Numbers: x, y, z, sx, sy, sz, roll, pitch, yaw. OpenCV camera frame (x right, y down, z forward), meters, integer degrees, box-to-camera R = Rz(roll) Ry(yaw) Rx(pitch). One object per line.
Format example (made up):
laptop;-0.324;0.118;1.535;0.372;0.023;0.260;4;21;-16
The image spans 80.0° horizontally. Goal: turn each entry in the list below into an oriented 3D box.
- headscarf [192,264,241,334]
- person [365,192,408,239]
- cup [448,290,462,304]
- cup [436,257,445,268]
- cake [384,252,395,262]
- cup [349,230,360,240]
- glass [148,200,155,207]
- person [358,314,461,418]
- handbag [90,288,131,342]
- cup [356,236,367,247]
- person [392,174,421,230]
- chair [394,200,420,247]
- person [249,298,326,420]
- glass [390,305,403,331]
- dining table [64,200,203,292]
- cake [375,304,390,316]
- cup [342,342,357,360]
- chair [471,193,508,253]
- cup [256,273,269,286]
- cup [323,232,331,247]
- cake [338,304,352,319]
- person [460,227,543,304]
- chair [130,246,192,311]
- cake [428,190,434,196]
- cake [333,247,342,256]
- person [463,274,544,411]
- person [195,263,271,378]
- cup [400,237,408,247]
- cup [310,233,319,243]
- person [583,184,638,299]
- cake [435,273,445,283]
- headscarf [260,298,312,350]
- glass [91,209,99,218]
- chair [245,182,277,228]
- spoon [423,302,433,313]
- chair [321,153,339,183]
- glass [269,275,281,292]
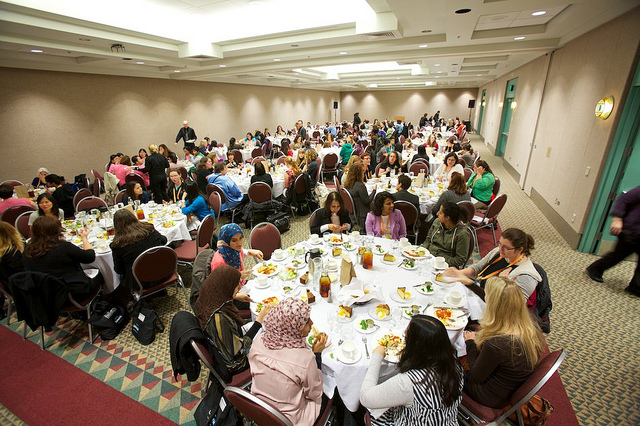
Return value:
headscarf;-1.302;1.083;4.786;0.405;0.701;0.502;7;22;-44
person;1.085;0.266;6.390;0.597;1.259;0.559;-7;8;-9
cup;1.740;1.083;4.948;0.146;0.115;0.119;1;25;16
cup;1.679;0.685;5.369;0.109;0.089;0.114;0;6;0
cake;0.985;0.630;5.503;0.105;0.069;0.106;19;-12;-28
cup;0.513;0.344;5.960;0.134;0.112;0.109;3;9;33
glass;-3.140;-0.192;7.136;0.133;0.105;0.134;-9;16;-34
person;1.050;1.835;4.347;1.098;1.283;0.463;4;18;12
handbag;-3.230;1.700;6.045;0.486;0.528;0.270;-41;46;-24
cup;0.616;0.417;5.757;0.128;0.099;0.124;-1;17;0
person;1.606;-0.211;7.269;0.694;1.140;0.634;4;23;24
chair;1.475;0.133;6.616;0.462;0.919;0.579;5;54;14
person;-0.378;1.729;4.391;0.734;1.223;0.787;22;39;20
glass;0.956;1.310;4.854;0.160;0.210;0.306;4;18;12
dining table;-3.334;0.214;6.615;1.649;0.519;1.838;1;22;3
cake;0.792;1.236;4.922;0.186;0.107;0.110;4;18;10
cup;0.346;1.644;4.586;0.175;0.156;0.121;2;18;5
chair;3.122;0.181;7.163;0.552;1.028;0.689;-18;42;-13
cup;-0.788;0.907;5.215;0.105;0.115;0.141;-2;4;-15
cup;0.120;0.416;5.935;0.150;0.260;0.150;1;3;0
cake;0.299;1.253;4.869;0.137;0.058;0.142;0;9;21
person;2.519;0.753;5.361;0.667;1.257;0.582;8;14;-9
chair;-2.559;1.038;6.033;0.528;0.941;0.603;-18;49;-24
cake;2.216;-0.412;7.671;0.081;0.028;0.084;-7;21;0
cake;0.240;0.554;5.587;0.141;0.114;0.086;-5;3;-6
person;2.139;1.556;4.514;0.843;1.509;0.530;8;20;24
person;-1.113;1.358;4.763;0.686;1.498;0.876;25;46;31
cup;1.262;0.434;5.804;0.110;0.116;0.114;0;10;0
cup;-0.105;0.380;5.896;0.117;0.092;0.118;-1;4;0
person;5.089;0.376;6.512;0.748;1.763;0.875;14;22;36
cake;1.626;0.873;5.228;0.094;0.097;0.024;12;-13;22
headscarf;-0.411;1.271;4.601;0.553;0.561;0.470;1;12;-6
glass;-4.074;0.003;6.899;0.126;0.135;0.132;-7;9;-29
chair;-1.288;-0.139;8.252;0.601;1.038;0.745;-6;-5;-4
spoon;1.392;1.206;4.970;0.205;0.022;0.060;-46;37;-20
chair;0.305;-1.434;11.348;0.654;1.008;0.710;0;56;-1
glass;-0.625;0.959;5.236;0.152;0.189;0.159;1;7;14
